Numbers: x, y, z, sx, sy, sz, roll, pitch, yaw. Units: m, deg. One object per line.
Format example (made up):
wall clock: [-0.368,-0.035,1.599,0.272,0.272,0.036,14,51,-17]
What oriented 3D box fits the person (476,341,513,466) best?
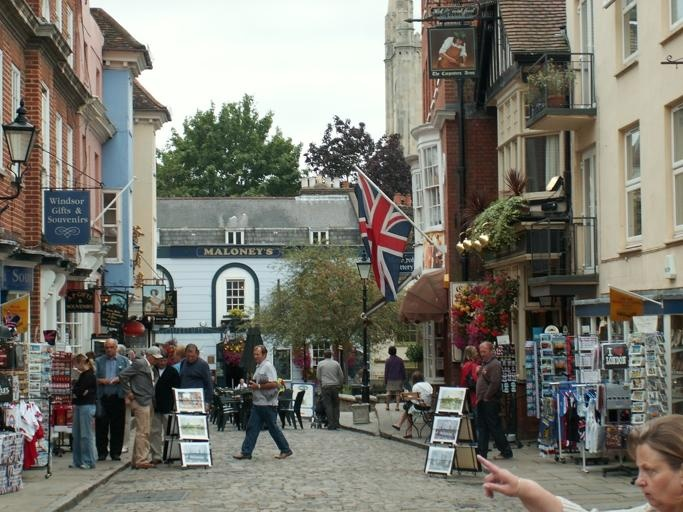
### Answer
person: [3.186,3.011,28.697,0.712,2.614,0.921,1,1,0]

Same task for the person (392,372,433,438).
person: [1.819,3.655,33.750,1.101,1.600,0.565,-5,-14,33]

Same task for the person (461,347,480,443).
person: [2.928,2.820,29.655,0.317,1.718,0.584,0,0,-3]

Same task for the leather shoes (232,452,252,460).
leather shoes: [-2.138,4.298,29.515,0.393,0.168,0.134,7,-8,0]

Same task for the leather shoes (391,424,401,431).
leather shoes: [1.489,4.401,35.285,0.090,0.119,0.274,22,7,-36]

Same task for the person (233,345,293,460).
person: [-1.712,3.154,29.725,1.263,2.441,0.886,1,-3,-24]

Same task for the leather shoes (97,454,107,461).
leather shoes: [-5.156,4.284,29.250,0.127,0.124,0.298,1,2,-1]

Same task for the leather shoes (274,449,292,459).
leather shoes: [-1.252,4.293,29.700,0.392,0.274,0.151,2,-3,-12]

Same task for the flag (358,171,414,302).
flag: [1.149,-0.509,35.720,1.351,3.431,1.104,-1,-9,1]

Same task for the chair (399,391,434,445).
chair: [1.962,3.887,33.505,0.731,1.110,1.295,-1,-9,3]

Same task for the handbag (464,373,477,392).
handbag: [2.857,2.692,29.304,0.183,0.332,0.259,-32,-34,34]

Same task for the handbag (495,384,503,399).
handbag: [3.352,2.809,28.525,0.151,0.331,0.397,-2,-9,9]

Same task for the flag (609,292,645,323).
flag: [5.664,0.962,26.698,0.595,0.378,0.564,1,3,1]

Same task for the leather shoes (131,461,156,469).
leather shoes: [-4.147,4.334,28.542,0.501,0.211,0.171,-2,3,-3]

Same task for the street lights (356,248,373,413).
street lights: [0.944,2.201,41.888,0.443,4.461,0.672,-1,1,-15]

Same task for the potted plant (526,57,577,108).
potted plant: [5.237,-3.929,31.985,1.197,1.393,1.131,1,-7,-6]

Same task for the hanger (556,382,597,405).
hanger: [4.894,2.785,27.811,0.515,0.479,0.128,1,-3,25]
